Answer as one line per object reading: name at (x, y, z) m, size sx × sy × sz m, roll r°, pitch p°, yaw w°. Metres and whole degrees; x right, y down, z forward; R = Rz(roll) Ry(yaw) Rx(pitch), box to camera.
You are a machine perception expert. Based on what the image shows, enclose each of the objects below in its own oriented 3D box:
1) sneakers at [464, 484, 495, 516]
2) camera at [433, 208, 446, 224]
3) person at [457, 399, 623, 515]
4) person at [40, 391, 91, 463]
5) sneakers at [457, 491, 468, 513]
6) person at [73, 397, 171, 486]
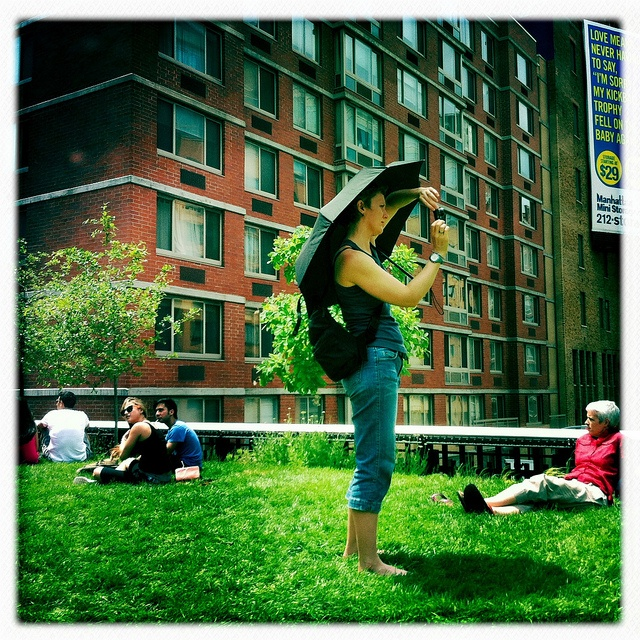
sneakers at (1.526, 1.834, 7.438) m, size 0.145 × 0.442 × 0.125 m, roll -26°, pitch -12°, yaw 9°
camera at (0.910, -0.792, 5.844) m, size 0.043 × 0.118 × 0.144 m, roll -3°, pitch -18°, yaw 32°
person at (2.329, 1.411, 7.869) m, size 1.702 × 1.169 × 0.862 m, roll 0°, pitch -7°, yaw -15°
person at (-4.313, 1.974, 12.862) m, size 0.762 × 1.644 × 1.378 m, roll 5°, pitch -3°, yaw -28°
sneakers at (1.409, 1.795, 7.577) m, size 0.068 × 0.201 × 0.057 m, roll -9°, pitch 2°, yaw 0°
person at (-2.380, 1.522, 9.682) m, size 1.140 × 1.055 × 0.846 m, roll -2°, pitch -8°, yaw 24°
